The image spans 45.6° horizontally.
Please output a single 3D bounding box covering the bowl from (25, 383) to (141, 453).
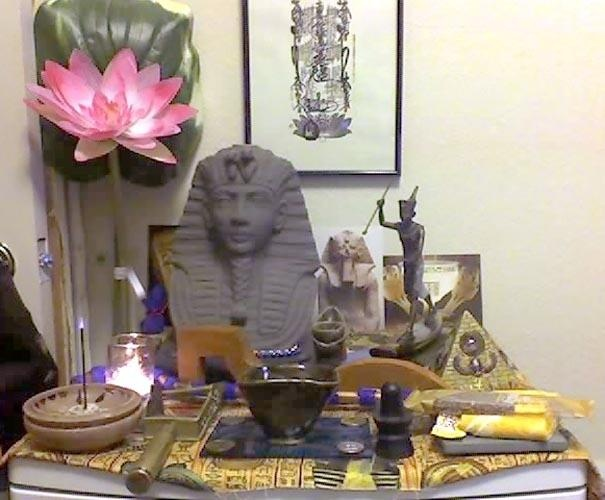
[{"bbox_3d":[-0.516,0.394,1.681,0.180,0.089,0.185,9,-4,1],"label":"bowl"}]

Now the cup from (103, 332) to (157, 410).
[{"bbox_3d":[-0.448,0.307,1.896,0.164,0.257,0.133,0,2,1],"label":"cup"}]

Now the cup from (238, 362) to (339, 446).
[{"bbox_3d":[-0.042,0.383,1.800,0.242,0.193,0.242,-2,8,0],"label":"cup"}]
